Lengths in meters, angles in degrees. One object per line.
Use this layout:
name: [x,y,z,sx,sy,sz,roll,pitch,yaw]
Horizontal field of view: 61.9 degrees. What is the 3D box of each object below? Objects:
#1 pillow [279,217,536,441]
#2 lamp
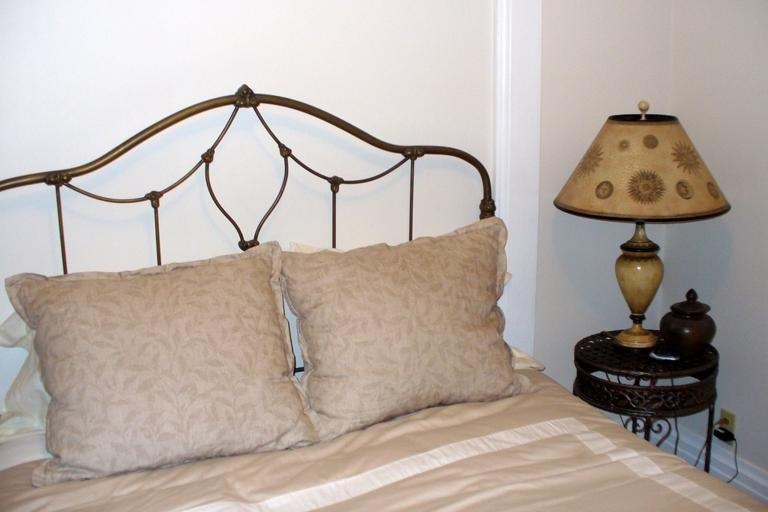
pillow: [0.048,0.266,2.227,0.657,0.521,0.253,-9,9,-12]
lamp: [0.958,-0.193,2.698,0.759,1.119,0.755,-6,17,-9]
